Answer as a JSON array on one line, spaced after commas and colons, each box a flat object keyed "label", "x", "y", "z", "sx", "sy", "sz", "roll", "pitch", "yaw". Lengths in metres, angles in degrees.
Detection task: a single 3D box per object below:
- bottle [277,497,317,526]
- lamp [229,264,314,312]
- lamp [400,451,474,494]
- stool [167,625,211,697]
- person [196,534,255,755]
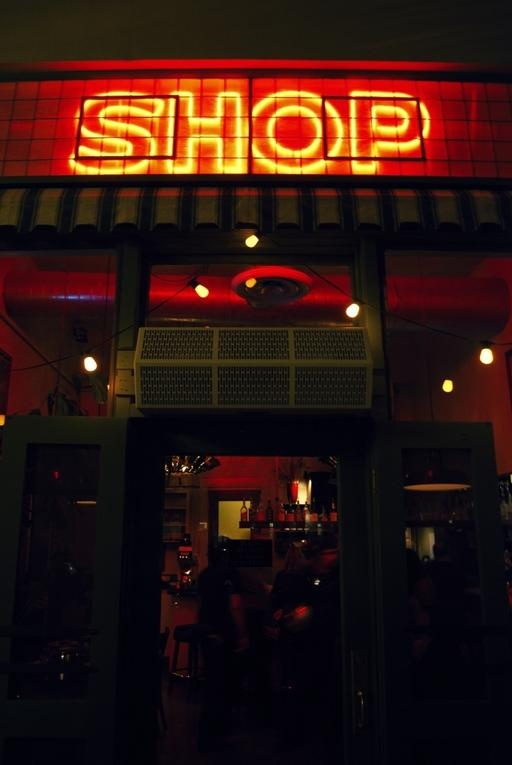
[{"label": "bottle", "x": 0.336, "y": 1.128, "z": 5.176, "sx": 0.352, "sy": 0.257, "sz": 0.384, "roll": 1, "pitch": -18, "yaw": 0}, {"label": "lamp", "x": 0.086, "y": -0.503, "z": 3.425, "sx": 0.427, "sy": 0.131, "sz": 0.559, "roll": -3, "pitch": -19, "yaw": 5}, {"label": "lamp", "x": 0.859, "y": 0.407, "z": 2.928, "sx": 0.302, "sy": 0.171, "sz": 0.313, "roll": 2, "pitch": -6, "yaw": -26}, {"label": "stool", "x": -0.424, "y": 1.646, "z": 3.661, "sx": 0.214, "sy": 0.326, "sz": 0.222, "roll": 12, "pitch": -15, "yaw": -24}, {"label": "person", "x": -0.189, "y": 1.260, "z": 3.008, "sx": 0.205, "sy": 0.929, "sz": 0.310, "roll": 14, "pitch": -23, "yaw": -38}]
